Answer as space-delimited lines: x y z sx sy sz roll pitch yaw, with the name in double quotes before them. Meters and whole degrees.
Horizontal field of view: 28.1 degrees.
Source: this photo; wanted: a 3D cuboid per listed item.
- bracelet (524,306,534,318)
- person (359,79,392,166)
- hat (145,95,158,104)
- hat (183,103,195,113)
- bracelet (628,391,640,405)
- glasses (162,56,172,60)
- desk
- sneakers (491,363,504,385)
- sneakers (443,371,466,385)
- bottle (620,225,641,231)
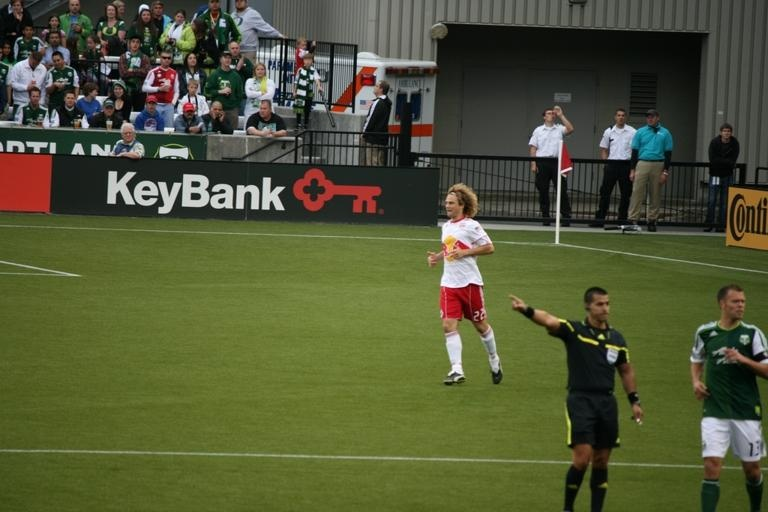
"bracelet" 2.263 0.852 24.130 0.154 0.201 0.098 1 5 -18
"person" -0.224 -3.348 38.293 0.704 2.066 1.164 3 5 -1
"hat" -5.876 -3.913 38.015 0.281 0.196 0.448 2 11 -10
"hat" -4.910 -3.716 38.188 0.304 0.263 0.286 2 5 -10
"bracelet" 4.023 2.228 24.457 0.203 0.221 0.223 3 -1 -6
"glasses" -5.468 -4.994 38.176 0.220 0.134 0.174 1 6 -14
"desk" -5.898 -2.824 38.171 7.171 0.636 1.203 1 6 -18
"sneakers" 2.014 2.050 27.221 0.134 0.371 0.153 -2 -1 26
"sneakers" 1.226 2.132 27.080 0.412 0.201 0.184 -2 -2 15
"bottle" 6.061 -0.713 37.699 0.299 0.122 0.207 1 2 -42
